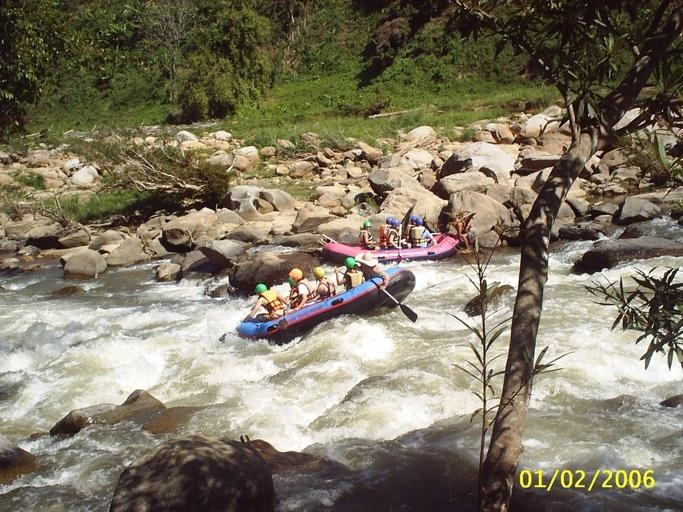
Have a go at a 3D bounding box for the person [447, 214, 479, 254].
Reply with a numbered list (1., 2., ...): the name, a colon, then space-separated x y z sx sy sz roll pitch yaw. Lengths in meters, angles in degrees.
1. person: 3.321 -0.601 18.697 0.939 0.982 0.646 -21 53 9

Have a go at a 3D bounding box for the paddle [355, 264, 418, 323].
1. paddle: 0.960 0.867 15.361 1.887 0.210 0.101 41 20 16

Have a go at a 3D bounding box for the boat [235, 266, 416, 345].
1. boat: -0.191 1.152 15.090 2.988 0.627 1.783 -27 0 -1

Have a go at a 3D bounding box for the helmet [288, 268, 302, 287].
1. helmet: -1.075 0.466 15.419 0.379 0.466 0.327 9 11 -10

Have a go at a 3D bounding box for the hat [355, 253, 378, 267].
1. hat: 0.582 0.075 15.902 0.341 0.155 0.403 7 20 -10

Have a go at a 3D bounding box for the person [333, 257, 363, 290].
1. person: 0.168 0.429 16.027 0.448 0.876 0.433 -13 45 -24

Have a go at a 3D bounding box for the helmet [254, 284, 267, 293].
1. helmet: -1.890 0.737 15.716 0.198 0.202 0.238 -25 -14 27

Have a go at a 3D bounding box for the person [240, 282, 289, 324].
1. person: -1.686 0.942 15.183 0.875 0.778 0.790 -26 36 -33

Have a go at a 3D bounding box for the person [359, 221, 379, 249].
1. person: 0.832 -0.608 20.572 0.544 0.753 0.497 -14 39 -17
